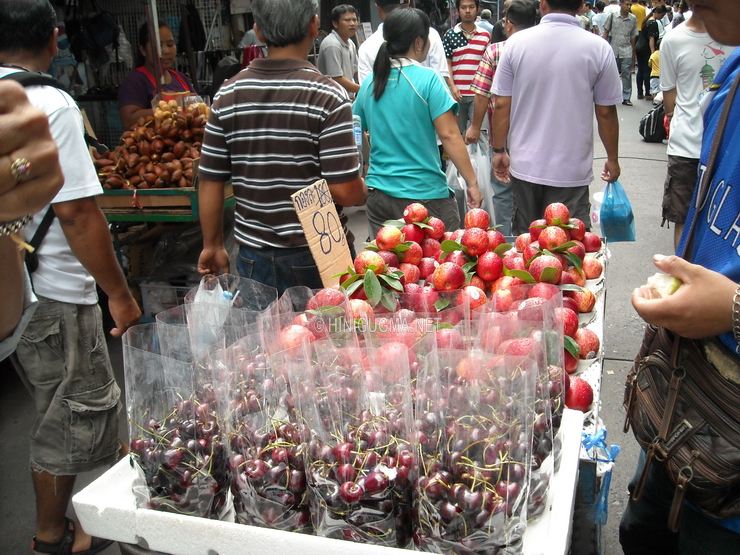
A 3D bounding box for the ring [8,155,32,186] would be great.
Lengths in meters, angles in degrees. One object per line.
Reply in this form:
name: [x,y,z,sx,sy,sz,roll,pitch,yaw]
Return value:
ring: [-0.707,-0.221,1.261,0.014,0.045,0.041,12,31,42]
